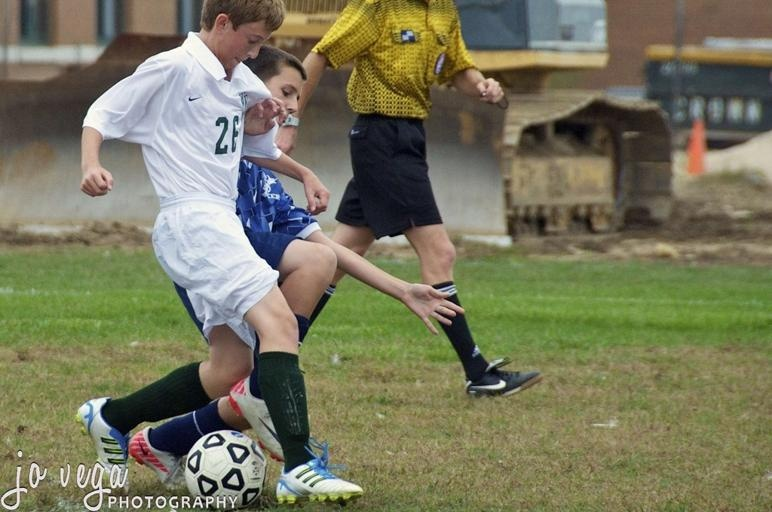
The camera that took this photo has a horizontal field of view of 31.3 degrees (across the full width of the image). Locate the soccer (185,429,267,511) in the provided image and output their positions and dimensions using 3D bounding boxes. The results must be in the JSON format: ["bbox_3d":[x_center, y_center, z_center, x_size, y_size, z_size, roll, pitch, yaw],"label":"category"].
[{"bbox_3d":[-0.851,1.206,7.664,0.458,0.421,0.400,3,-19,-3],"label":"soccer"}]

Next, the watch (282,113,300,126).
[{"bbox_3d":[-0.582,-0.824,8.367,0.087,0.052,0.084,-8,1,7],"label":"watch"}]

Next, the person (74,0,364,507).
[{"bbox_3d":[-0.988,-0.046,7.643,1.343,2.770,0.731,-1,2,-8],"label":"person"}]

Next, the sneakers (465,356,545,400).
[{"bbox_3d":[0.734,0.782,8.778,0.557,0.245,0.186,-10,6,5],"label":"sneakers"}]
